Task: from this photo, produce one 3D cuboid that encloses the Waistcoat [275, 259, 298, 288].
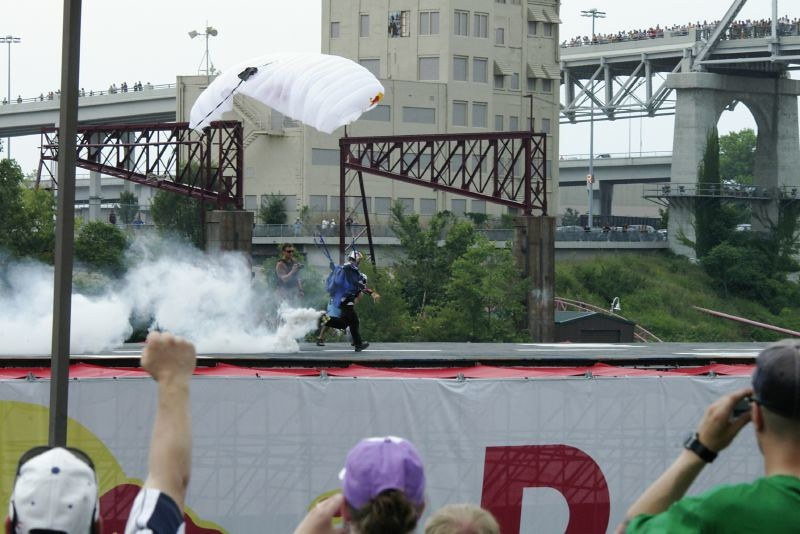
[{"bbox_3d":[-6.837,0.451,129.750,1.437,1.878,1.439,-2,-1,-45],"label":"Waistcoat"}]
